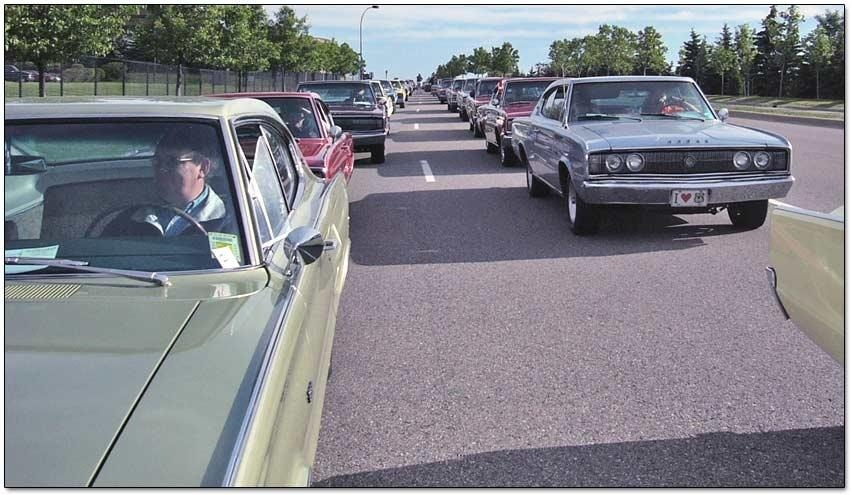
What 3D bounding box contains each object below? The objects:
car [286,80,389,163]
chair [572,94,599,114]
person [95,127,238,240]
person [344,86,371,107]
[{"bbox_3d":[-2.035,-4.127,16.074,1.941,1.392,3.370,1,5,3],"label":"car"},{"bbox_3d":[2.613,-2.394,8.617,0.297,0.377,0.358,-1,20,4],"label":"chair"},{"bbox_3d":[-1.461,-0.379,3.233,1.023,0.686,0.614,2,-3,9],"label":"person"},{"bbox_3d":[-2.048,-4.671,16.027,0.554,0.430,0.905,-1,14,-5],"label":"person"}]
